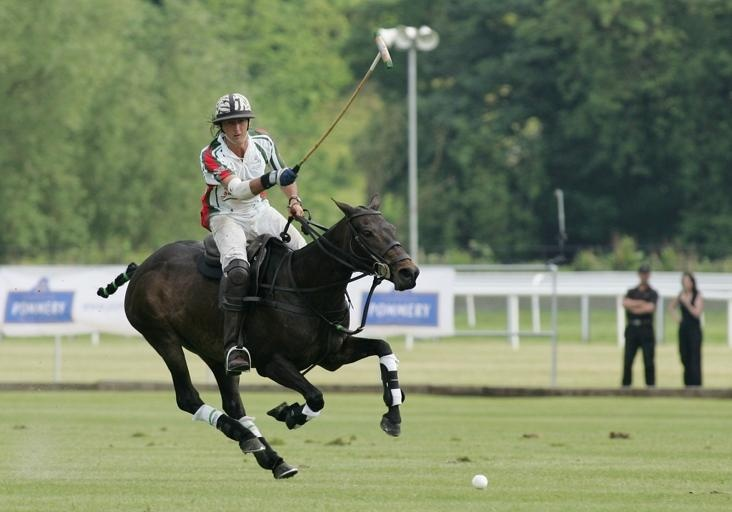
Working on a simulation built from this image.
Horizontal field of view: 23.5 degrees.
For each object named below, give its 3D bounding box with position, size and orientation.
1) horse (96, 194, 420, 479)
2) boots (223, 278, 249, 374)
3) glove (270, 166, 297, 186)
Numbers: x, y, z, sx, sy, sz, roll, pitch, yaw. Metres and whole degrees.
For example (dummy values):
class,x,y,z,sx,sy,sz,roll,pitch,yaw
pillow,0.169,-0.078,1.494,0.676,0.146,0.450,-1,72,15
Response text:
class,x,y,z,sx,sy,sz,roll,pitch,yaw
horse,-1.695,1.414,26.318,1.737,4.008,6.911,-2,-3,-43
boots,-1.874,1.034,25.013,0.375,1.409,0.445,-4,5,-4
glove,-1.165,-1.095,24.956,0.358,0.275,0.375,-2,5,15
